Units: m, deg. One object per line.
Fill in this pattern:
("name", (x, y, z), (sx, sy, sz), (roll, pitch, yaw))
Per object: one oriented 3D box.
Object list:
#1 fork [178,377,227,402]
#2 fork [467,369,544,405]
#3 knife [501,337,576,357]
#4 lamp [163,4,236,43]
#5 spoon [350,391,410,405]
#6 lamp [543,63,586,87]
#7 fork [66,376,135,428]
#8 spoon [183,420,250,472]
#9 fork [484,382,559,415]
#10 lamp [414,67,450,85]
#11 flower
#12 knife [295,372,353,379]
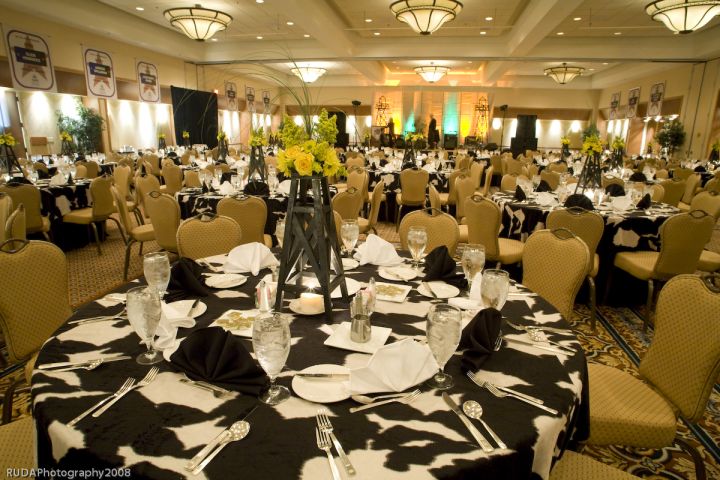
("fork", (-0.717, 0.682, 2.100), (0.247, 0.087, 0.038), (16, -22, 15))
("fork", (0.676, 0.694, 2.126), (0.233, 0.038, 0.041), (19, 38, 21))
("knife", (0.907, 0.552, 2.346), (0.373, 0.021, 0.128), (7, 33, 24))
("lamp", (-3.307, -4.522, 9.347), (1.185, 0.629, 1.012), (13, 18, 36))
("spoon", (0.085, 0.717, 2.060), (0.218, 0.041, 0.034), (-3, -26, -13))
("lamp", (6.891, -5.720, 15.355), (1.050, 0.763, 2.363), (9, 16, 23))
("fork", (-1.151, 0.730, 2.019), (0.036, 0.040, 0.272), (18, 29, 17))
("spoon", (-0.582, 0.850, 1.883), (0.091, 0.041, 0.340), (27, 26, 17))
("fork", (0.735, 0.730, 2.076), (0.232, 0.039, 0.033), (18, 33, 38))
("lamp", (2.386, -5.529, 14.941), (0.787, 0.450, 0.950), (-5, 17, -27))
("flower", (-0.294, -0.559, 2.633), (0.343, 0.310, 0.360), (0, 9, -7))
("knife", (-0.168, 0.637, 2.129), (0.287, 0.033, 0.032), (0, 49, 0))
